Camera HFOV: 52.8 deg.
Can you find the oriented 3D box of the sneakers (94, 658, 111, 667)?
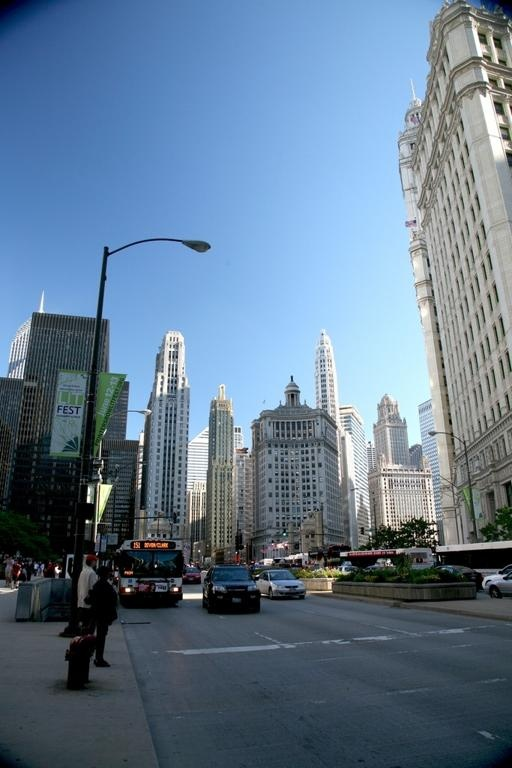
[{"bbox_3d":[-2.626,4.734,8.755,0.250,0.111,0.339,3,-18,-16],"label":"sneakers"}]
